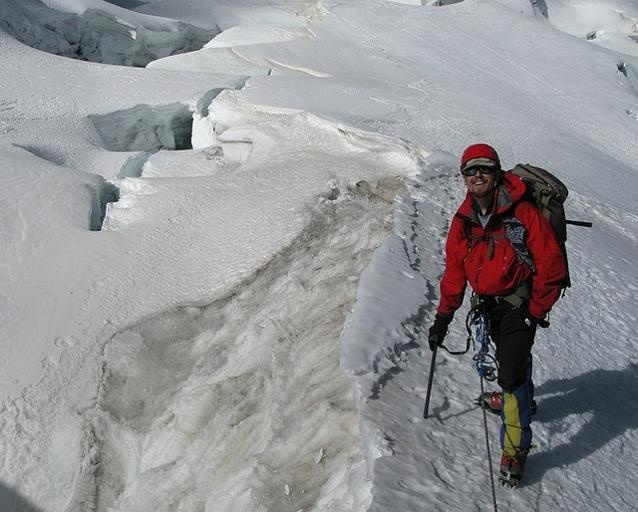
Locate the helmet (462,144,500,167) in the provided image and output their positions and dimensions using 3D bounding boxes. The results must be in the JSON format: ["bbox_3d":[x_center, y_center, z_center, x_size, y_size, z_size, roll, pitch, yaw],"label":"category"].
[{"bbox_3d":[1.334,-0.787,5.102,0.241,0.279,0.195,-12,58,27],"label":"helmet"}]

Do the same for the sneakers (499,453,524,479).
[{"bbox_3d":[1.622,1.794,5.152,0.188,0.230,0.101,5,12,21],"label":"sneakers"}]
